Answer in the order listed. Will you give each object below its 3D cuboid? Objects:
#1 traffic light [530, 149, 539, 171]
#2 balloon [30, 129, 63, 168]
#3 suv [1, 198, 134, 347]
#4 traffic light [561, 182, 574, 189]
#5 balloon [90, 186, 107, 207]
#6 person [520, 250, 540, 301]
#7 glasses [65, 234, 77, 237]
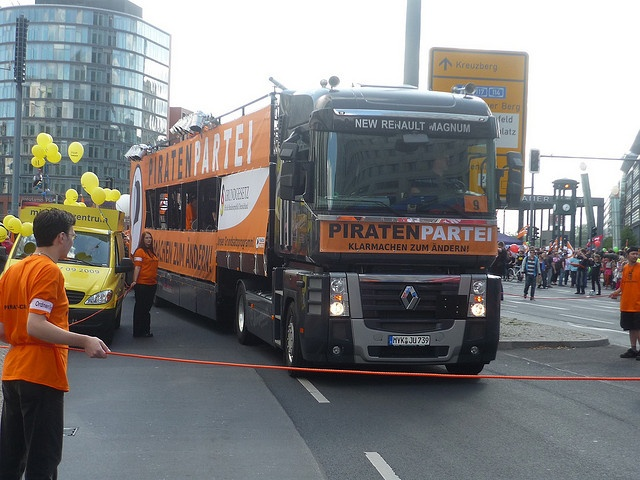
[{"bbox_3d":[12.665,-4.693,32.754,0.450,1.345,0.552,0,-2,22],"label":"traffic light"},{"bbox_3d":[-8.039,-2.578,16.455,1.021,1.246,0.476,11,20,2],"label":"balloon"},{"bbox_3d":[-5.620,0.587,12.746,2.707,3.242,5.383,1,-3,-8],"label":"suv"},{"bbox_3d":[25.742,-5.658,57.562,0.861,0.580,0.323,1,-2,12],"label":"traffic light"},{"bbox_3d":[-5.854,-1.123,14.296,0.413,0.621,0.472,0,6,6],"label":"balloon"},{"bbox_3d":[9.988,1.594,26.528,0.853,2.487,0.858,1,3,-7],"label":"person"},{"bbox_3d":[-1.876,-0.037,4.126,0.051,0.016,0.054,-3,-3,13],"label":"glasses"}]
